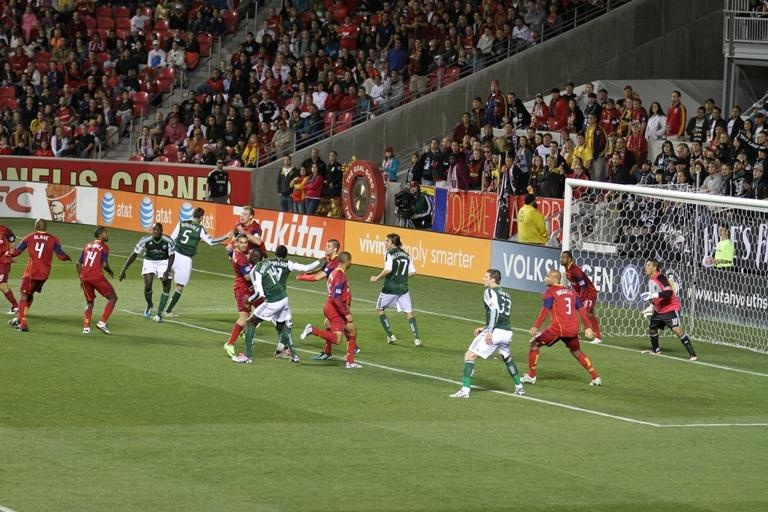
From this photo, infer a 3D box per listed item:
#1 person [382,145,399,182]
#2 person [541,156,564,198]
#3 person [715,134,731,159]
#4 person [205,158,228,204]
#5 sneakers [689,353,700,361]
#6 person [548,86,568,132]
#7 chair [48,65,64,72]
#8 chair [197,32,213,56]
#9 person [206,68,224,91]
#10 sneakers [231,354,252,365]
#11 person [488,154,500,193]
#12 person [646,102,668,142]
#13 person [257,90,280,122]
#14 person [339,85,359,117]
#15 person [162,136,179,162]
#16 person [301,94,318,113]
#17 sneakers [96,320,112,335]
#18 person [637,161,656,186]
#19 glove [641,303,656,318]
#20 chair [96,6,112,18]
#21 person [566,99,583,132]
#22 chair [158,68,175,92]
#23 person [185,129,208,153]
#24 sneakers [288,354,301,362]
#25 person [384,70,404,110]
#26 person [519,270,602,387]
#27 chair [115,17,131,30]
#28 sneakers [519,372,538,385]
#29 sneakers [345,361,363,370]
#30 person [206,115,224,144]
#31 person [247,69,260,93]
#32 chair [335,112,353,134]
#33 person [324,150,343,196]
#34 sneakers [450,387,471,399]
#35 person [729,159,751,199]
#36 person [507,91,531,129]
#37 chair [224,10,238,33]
[{"bbox_3d":[0.194,-2.873,39.341,0.449,1.031,0.734,0,14,-2],"label":"person"},{"bbox_3d":[4.692,-2.222,35.134,0.612,1.131,0.492,3,14,8],"label":"person"},{"bbox_3d":[8.936,-2.876,33.267,0.397,0.596,0.819,5,15,14],"label":"person"},{"bbox_3d":[-5.367,-2.421,40.823,0.641,1.505,0.813,3,14,9],"label":"person"},{"bbox_3d":[6.801,2.247,27.805,0.167,0.216,0.509,-3,-1,13],"label":"sneakers"},{"bbox_3d":[5.244,-4.418,38.040,0.355,1.238,0.833,-7,16,-30],"label":"person"},{"bbox_3d":[-12.070,-6.991,46.530,0.458,0.357,0.481,-1,-1,4],"label":"chair"},{"bbox_3d":[-6.555,-7.853,46.518,0.671,0.944,0.781,1,2,1],"label":"chair"},{"bbox_3d":[-5.857,-6.189,44.117,0.477,0.783,0.837,-4,15,-20],"label":"person"},{"bbox_3d":[-2.974,2.196,26.585,0.421,0.221,0.169,4,2,4],"label":"sneakers"},{"bbox_3d":[3.211,-2.398,36.269,0.239,1.060,0.783,-3,14,-16],"label":"person"},{"bbox_3d":[7.814,-3.903,36.345,0.581,1.028,0.599,4,14,12],"label":"person"},{"bbox_3d":[-3.873,-5.108,42.736,0.712,0.998,0.685,-2,14,-11],"label":"person"},{"bbox_3d":[-1.081,-5.231,42.198,0.637,0.880,0.352,24,13,40],"label":"person"},{"bbox_3d":[-7.416,-3.693,44.195,0.741,0.984,0.750,1,31,-4],"label":"person"},{"bbox_3d":[-2.479,-4.988,41.711,0.649,0.711,0.520,0,17,-1],"label":"person"},{"bbox_3d":[-6.236,1.617,28.229,0.148,0.228,0.452,39,-6,36],"label":"sneakers"},{"bbox_3d":[7.033,-2.204,33.921,0.340,0.879,0.526,15,-21,-20],"label":"person"},{"bbox_3d":[5.859,1.246,28.050,0.244,0.104,0.385,20,10,12],"label":"glove"},{"bbox_3d":[-10.762,-9.452,48.821,0.491,0.621,0.492,-2,14,-14],"label":"chair"},{"bbox_3d":[5.720,-4.214,37.807,0.488,0.967,0.442,2,14,6],"label":"person"},{"bbox_3d":[-7.921,-6.446,46.032,0.714,0.999,0.869,1,3,-2],"label":"chair"},{"bbox_3d":[-6.381,-3.927,43.354,0.733,0.999,0.549,8,0,43],"label":"person"},{"bbox_3d":[-1.893,2.179,26.666,0.122,0.115,0.249,-7,2,-31],"label":"sneakers"},{"bbox_3d":[0.314,-5.495,41.706,0.605,1.351,0.446,3,14,8],"label":"person"},{"bbox_3d":[3.530,1.536,25.435,1.444,2.325,0.899,3,14,6],"label":"person"},{"bbox_3d":[-9.999,-8.985,48.618,0.448,0.621,0.509,-2,16,-12],"label":"chair"},{"bbox_3d":[2.924,2.501,25.851,0.444,0.203,0.164,11,23,42],"label":"sneakers"},{"bbox_3d":[-0.642,2.303,26.485,0.404,0.175,0.135,-1,11,-18],"label":"sneakers"},{"bbox_3d":[-5.723,-4.334,43.002,0.587,0.911,0.390,-2,14,-11],"label":"person"},{"bbox_3d":[-4.452,-6.049,43.608,0.408,0.791,0.748,0,14,-6],"label":"person"},{"bbox_3d":[-1.306,-4.497,42.161,0.596,0.602,0.613,-14,22,-19],"label":"chair"},{"bbox_3d":[-1.565,-2.571,39.597,0.590,1.542,0.899,0,14,-4],"label":"person"},{"bbox_3d":[1.541,2.695,24.751,0.479,0.227,0.171,1,7,12],"label":"sneakers"},{"bbox_3d":[9.098,-1.998,32.255,0.579,0.813,0.848,6,15,18],"label":"person"},{"bbox_3d":[4.178,-4.490,38.988,0.782,1.075,0.574,2,14,5],"label":"person"},{"bbox_3d":[-5.687,-8.778,47.049,0.614,0.868,0.797,1,6,0],"label":"chair"}]
